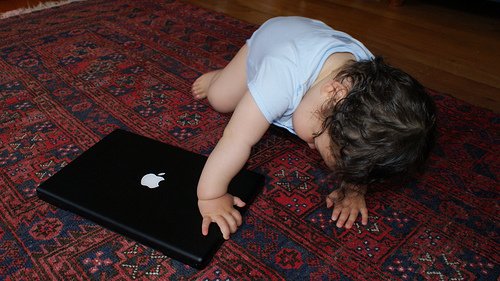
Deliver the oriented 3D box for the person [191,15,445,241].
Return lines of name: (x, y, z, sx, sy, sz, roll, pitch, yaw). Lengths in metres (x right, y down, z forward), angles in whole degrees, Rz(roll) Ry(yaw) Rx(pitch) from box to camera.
person: (0.238, -0.103, 1.845, 1.074, 0.808, 1.101, 2, 58, -24)
